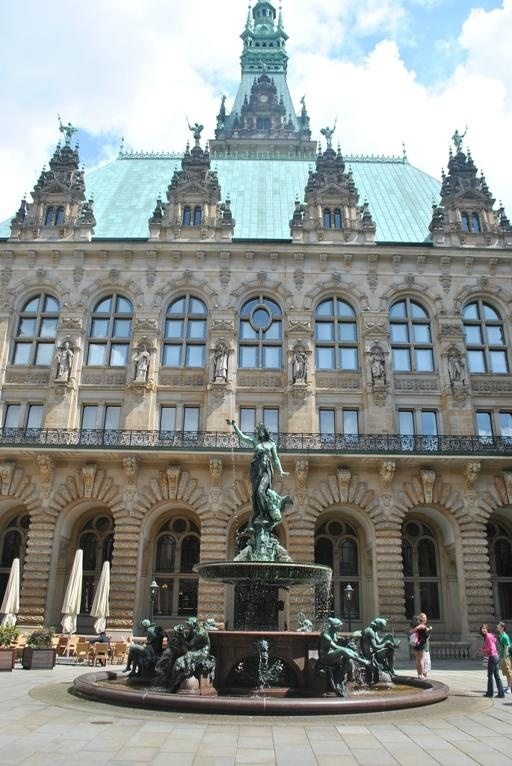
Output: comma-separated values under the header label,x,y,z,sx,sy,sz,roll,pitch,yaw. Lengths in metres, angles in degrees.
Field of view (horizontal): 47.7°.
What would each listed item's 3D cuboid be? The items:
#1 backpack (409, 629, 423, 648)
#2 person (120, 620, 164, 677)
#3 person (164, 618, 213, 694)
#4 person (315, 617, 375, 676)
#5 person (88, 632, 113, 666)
label,x,y,z,sx,sy,sz,roll,pitch,yaw
backpack,3.938,6.354,14.370,0.222,0.370,0.371,-4,-21,12
person,-2.507,6.028,13.127,0.800,1.115,1.267,4,-21,-9
person,-1.213,5.188,11.092,0.818,1.239,0.764,4,-21,-7
person,1.699,5.044,11.281,0.890,0.870,0.556,-2,-12,17
person,-4.851,8.329,18.089,0.746,0.811,1.859,6,-21,-13
